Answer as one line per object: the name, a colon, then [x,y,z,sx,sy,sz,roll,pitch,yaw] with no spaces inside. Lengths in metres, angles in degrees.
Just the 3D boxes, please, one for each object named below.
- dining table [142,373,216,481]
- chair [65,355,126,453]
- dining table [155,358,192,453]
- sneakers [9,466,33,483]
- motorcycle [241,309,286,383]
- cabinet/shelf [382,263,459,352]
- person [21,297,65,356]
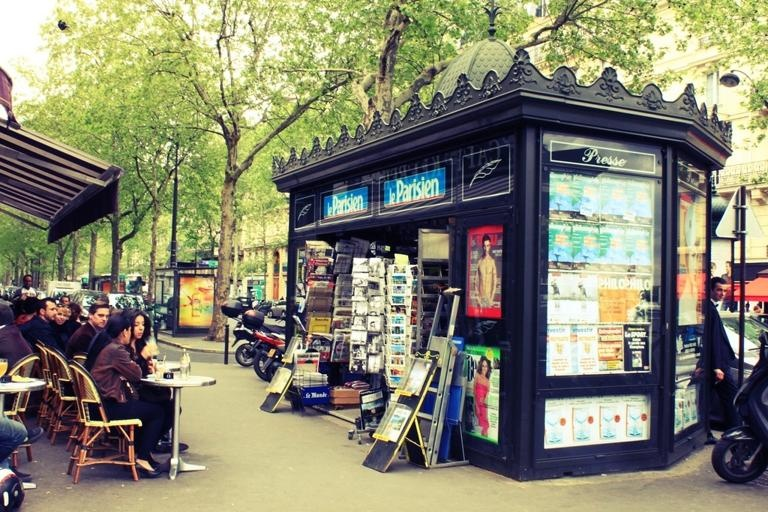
dining table: [-3.229,2.750,12.027,1.482,1.660,1.503,-1,-11,6]
chair: [-4.609,2.487,11.817,0.762,1.779,1.313,-1,5,-24]
dining table: [-3.382,2.487,12.049,0.816,1.277,0.793,6,-7,-29]
sneakers: [-5.467,3.318,11.188,0.262,0.165,0.613,-1,4,-27]
motorcycle: [-3.115,2.356,19.299,0.872,1.559,2.387,0,4,-15]
cabinet/shelf: [0.773,0.951,13.332,0.915,1.758,1.604,-1,5,-23]
person: [-6.096,1.410,13.332,0.683,1.238,0.925,-2,-4,-30]
